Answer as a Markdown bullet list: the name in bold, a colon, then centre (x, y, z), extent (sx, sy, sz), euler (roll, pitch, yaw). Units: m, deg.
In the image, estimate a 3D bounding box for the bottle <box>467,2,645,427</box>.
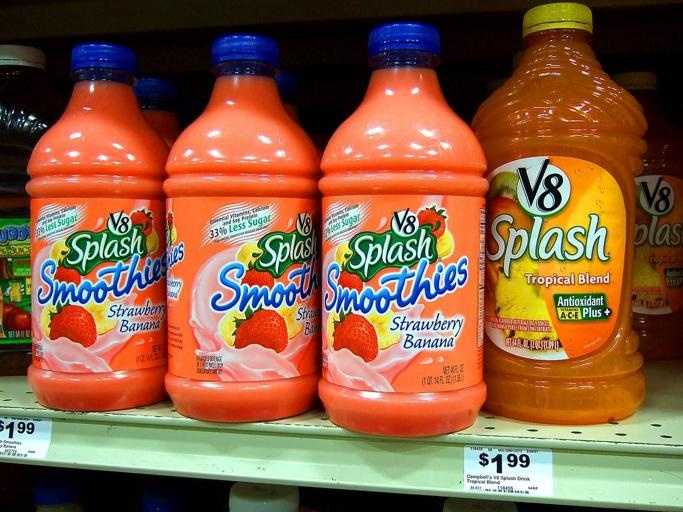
- **bottle**: centre (0.395, -0.081, 1.092), extent (0.290, 0.747, 0.170), euler (-3, 3, 23)
